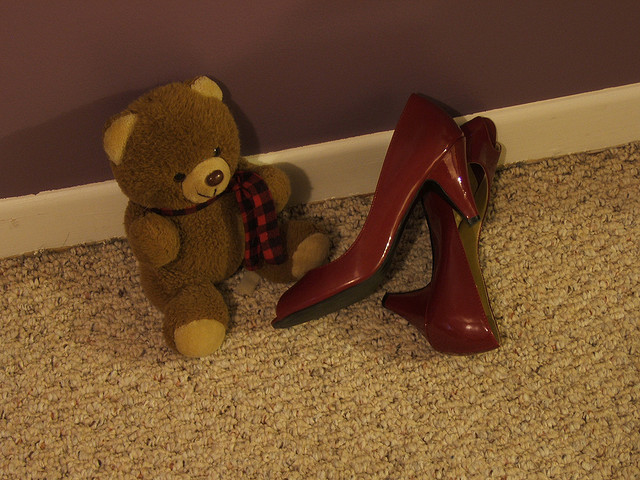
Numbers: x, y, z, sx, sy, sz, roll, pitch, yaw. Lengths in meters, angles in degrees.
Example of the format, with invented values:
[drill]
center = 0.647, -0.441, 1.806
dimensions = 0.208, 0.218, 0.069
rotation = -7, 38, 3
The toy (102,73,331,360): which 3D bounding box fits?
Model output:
[toy]
center = -0.189, -0.051, 1.190
dimensions = 0.345, 0.392, 0.282
rotation = -36, 50, -26
